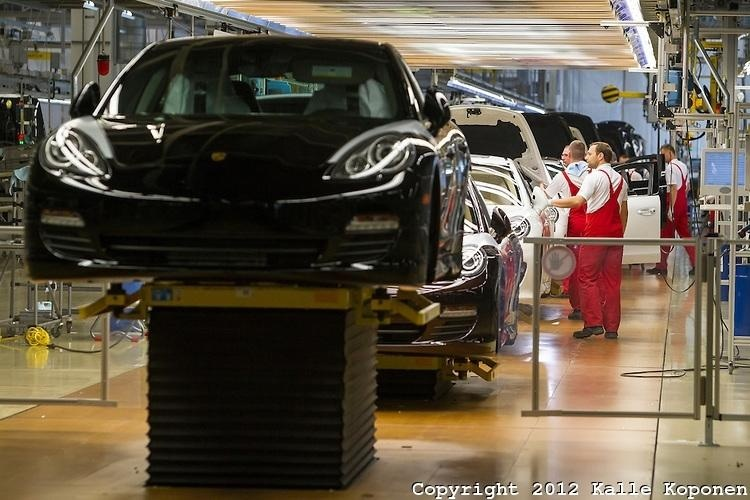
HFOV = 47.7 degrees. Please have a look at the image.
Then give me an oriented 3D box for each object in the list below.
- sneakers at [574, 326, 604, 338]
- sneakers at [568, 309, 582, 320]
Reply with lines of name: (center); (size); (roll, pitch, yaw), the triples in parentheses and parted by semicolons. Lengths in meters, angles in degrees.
sneakers: (1.763, 0.673, 6.981); (0.267, 0.099, 0.093); (0, 1, 32)
sneakers: (1.601, 0.517, 6.796); (0.091, 0.088, 0.248); (-1, -5, 12)
